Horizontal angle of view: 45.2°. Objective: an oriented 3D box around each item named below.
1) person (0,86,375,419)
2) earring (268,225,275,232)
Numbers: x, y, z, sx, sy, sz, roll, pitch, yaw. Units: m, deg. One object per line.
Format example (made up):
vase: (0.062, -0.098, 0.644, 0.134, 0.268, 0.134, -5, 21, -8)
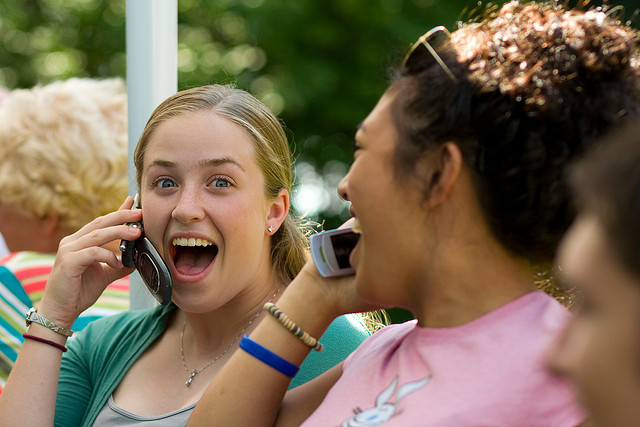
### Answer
person: (-0.815, 0.242, 4.110, 1.537, 1.573, 0.936, -6, -30, 24)
earring: (-0.261, 0.077, 4.049, 0.029, 0.030, 0.007, 5, -9, -5)
